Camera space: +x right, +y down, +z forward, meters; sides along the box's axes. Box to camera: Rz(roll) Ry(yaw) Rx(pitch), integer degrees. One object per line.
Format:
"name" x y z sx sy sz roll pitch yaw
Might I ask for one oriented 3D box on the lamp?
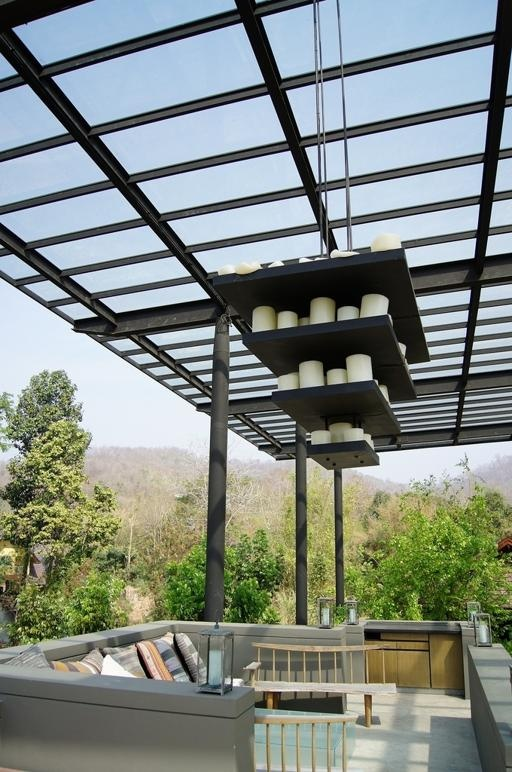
"lamp" 0.313 -0.888 2.649 0.866 2.416 1.187 -2 -12 16

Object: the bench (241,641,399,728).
"bench" 0.441 2.145 4.150 1.067 0.580 0.390 -3 -24 8

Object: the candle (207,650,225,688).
"candle" -0.142 0.986 2.006 0.057 0.155 0.063 -2 -8 17

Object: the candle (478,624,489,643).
"candle" 2.034 2.234 5.184 0.099 0.178 0.110 -2 -13 16

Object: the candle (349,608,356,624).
"candle" 1.055 2.547 6.341 0.087 0.144 0.178 1 -12 2
